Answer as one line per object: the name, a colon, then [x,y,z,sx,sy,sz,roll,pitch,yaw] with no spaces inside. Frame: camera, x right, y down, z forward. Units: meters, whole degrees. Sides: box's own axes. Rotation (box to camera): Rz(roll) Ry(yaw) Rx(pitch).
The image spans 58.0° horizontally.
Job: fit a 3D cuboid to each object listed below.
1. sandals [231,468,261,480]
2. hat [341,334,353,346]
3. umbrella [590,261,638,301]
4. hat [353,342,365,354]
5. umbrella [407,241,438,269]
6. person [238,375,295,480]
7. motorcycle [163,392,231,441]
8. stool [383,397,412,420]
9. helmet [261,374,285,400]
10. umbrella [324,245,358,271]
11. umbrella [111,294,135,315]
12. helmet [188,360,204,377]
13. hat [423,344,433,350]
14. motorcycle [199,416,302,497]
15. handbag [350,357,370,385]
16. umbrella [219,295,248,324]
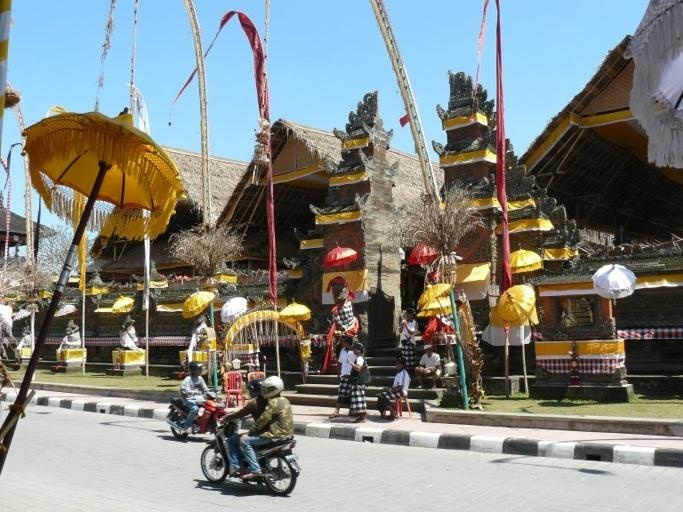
sandals: [-1.204,2.801,7.840,0.354,0.139,0.122,6,-10,13]
hat: [0.119,1.752,12.350,0.172,0.205,0.205,4,28,5]
umbrella: [5.348,0.628,12.233,0.747,0.489,0.751,23,45,35]
hat: [0.343,1.838,12.253,0.177,0.230,0.356,-2,-13,7]
umbrella: [2.086,0.006,15.472,0.629,0.318,0.602,-3,5,-25]
person: [-0.975,2.222,7.990,0.664,1.280,0.258,2,-14,-9]
motorcycle: [-2.779,3.054,11.645,1.777,0.953,0.708,-9,-16,31]
stool: [1.191,3.094,12.501,0.541,0.423,0.514,4,-17,-22]
helmet: [-0.908,1.742,8.162,0.306,0.250,0.233,4,-9,-7]
umbrella: [0.017,-0.018,17.091,0.896,0.714,1.000,-3,-13,9]
umbrella: [-8.045,1.871,22.669,0.779,0.745,0.754,-26,-5,-9]
helmet: [-2.704,2.114,11.458,0.339,0.294,0.253,5,8,-4]
hat: [1.968,2.070,13.886,0.168,0.148,0.366,-2,-13,8]
motorcycle: [-1.029,2.644,8.223,1.352,0.803,0.710,3,-9,28]
handbag: [0.379,2.278,12.251,0.281,0.545,0.508,-13,-18,43]
umbrella: [-2.974,1.510,17.365,0.587,0.737,0.929,6,-15,-26]
